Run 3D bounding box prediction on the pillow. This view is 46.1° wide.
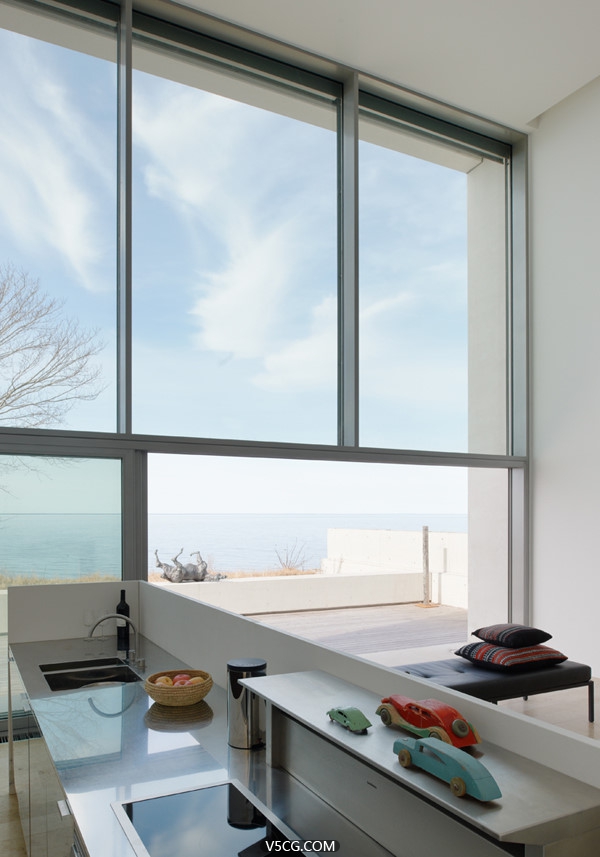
[{"bbox_3d":[1.099,1.184,3.827,0.306,0.141,0.347,2,-4,-22],"label":"pillow"}]

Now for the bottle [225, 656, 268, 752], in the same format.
[{"bbox_3d":[-0.131,0.687,1.739,0.092,0.196,0.170,-1,0,-6],"label":"bottle"}]
